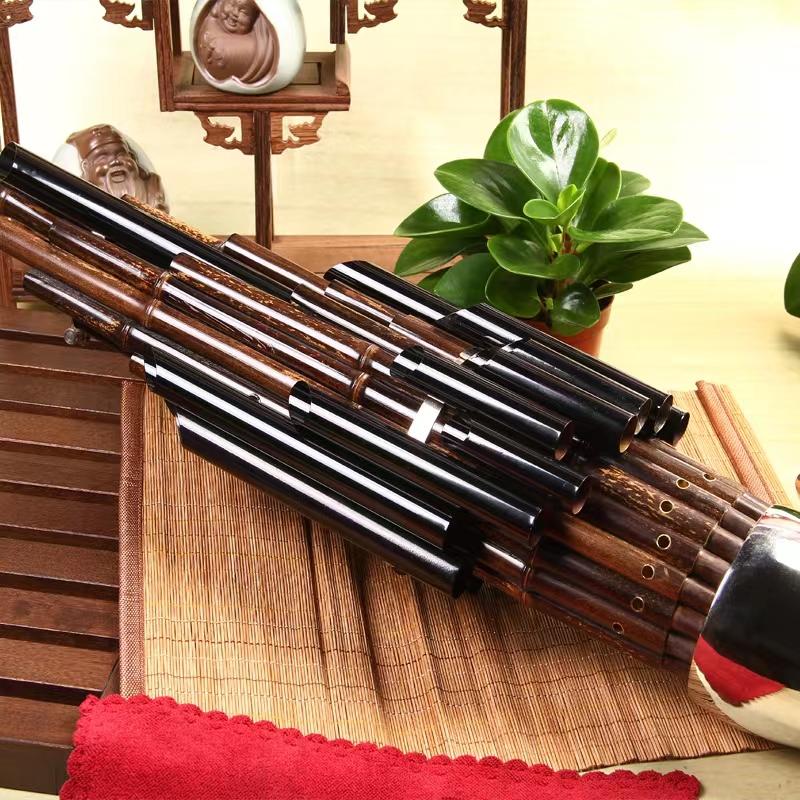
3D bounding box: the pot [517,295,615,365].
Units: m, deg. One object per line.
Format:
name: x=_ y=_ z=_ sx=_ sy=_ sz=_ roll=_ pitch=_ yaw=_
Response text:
pot: x=0.129 y=-0.057 z=0.768 sx=0.072 sy=0.045 sz=0.066 roll=-5 pitch=41 yaw=4
